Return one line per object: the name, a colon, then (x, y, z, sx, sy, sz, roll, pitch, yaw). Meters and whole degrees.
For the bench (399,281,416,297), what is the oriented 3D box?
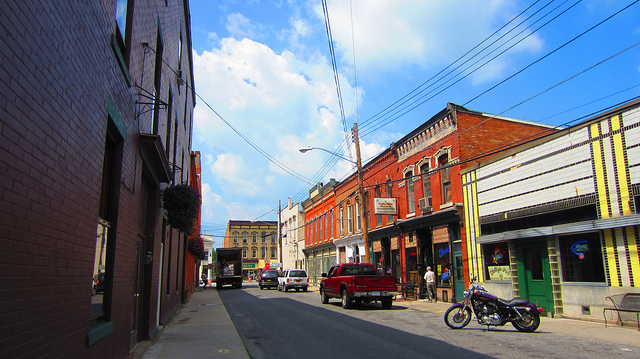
bench: (5.366, 6.654, 26.698, 0.769, 0.986, 0.787, -7, -24, 23)

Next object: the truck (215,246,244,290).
truck: (-9.404, 9.149, 45.378, 2.622, 4.100, 2.590, 2, -8, -15)

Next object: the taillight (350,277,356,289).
taillight: (1.611, 4.986, 21.234, 0.268, 0.532, 0.046, -6, -10, 36)

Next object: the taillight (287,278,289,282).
taillight: (-2.749, 8.519, 37.047, 0.251, 0.448, 0.249, 2, -7, -3)

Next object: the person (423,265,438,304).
person: (6.207, 5.808, 24.394, 0.590, 1.916, 1.106, -2, -8, 14)

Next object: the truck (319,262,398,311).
truck: (1.754, 5.528, 22.978, 2.079, 1.481, 4.266, 5, -13, -13)

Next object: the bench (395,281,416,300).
bench: (5.251, 6.733, 26.784, 0.865, 1.106, 0.907, -6, -27, 20)

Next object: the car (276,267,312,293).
car: (-2.557, 8.884, 38.845, 2.021, 1.671, 4.297, 3, -9, -14)
